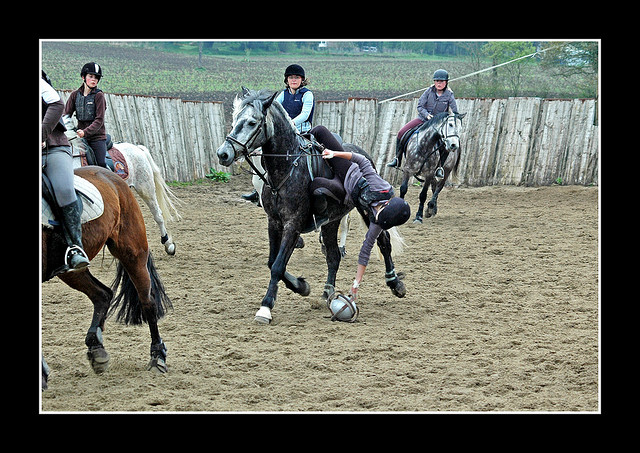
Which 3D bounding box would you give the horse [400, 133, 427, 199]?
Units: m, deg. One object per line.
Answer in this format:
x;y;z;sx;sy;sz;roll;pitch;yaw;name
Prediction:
1.833;-1.383;13.540;0.861;1.609;0.668;6;20;14;horse

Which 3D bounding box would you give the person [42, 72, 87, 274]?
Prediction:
-2.611;-0.541;6.337;0.355;1.989;0.831;-6;14;-22;person

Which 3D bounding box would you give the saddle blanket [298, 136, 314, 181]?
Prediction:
-0.179;-0.908;8.234;0.137;0.698;0.119;-15;-7;-5;saddle blanket

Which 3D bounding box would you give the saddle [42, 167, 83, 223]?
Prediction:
-2.672;-0.283;6.387;0.404;0.518;0.268;-29;-6;-18;saddle

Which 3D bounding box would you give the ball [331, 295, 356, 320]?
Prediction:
0.315;1.027;8.011;0.301;0.295;0.253;43;4;9;ball

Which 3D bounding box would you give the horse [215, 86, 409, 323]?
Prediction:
-0.028;-0.314;8.231;2.151;2.953;1.773;2;13;6;horse

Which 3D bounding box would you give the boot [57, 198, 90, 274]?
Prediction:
-2.443;0.079;6.284;0.325;0.667;0.276;-2;13;-10;boot

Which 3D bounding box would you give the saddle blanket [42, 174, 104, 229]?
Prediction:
-2.417;-0.298;6.517;0.635;0.492;0.162;-17;-12;-33;saddle blanket
